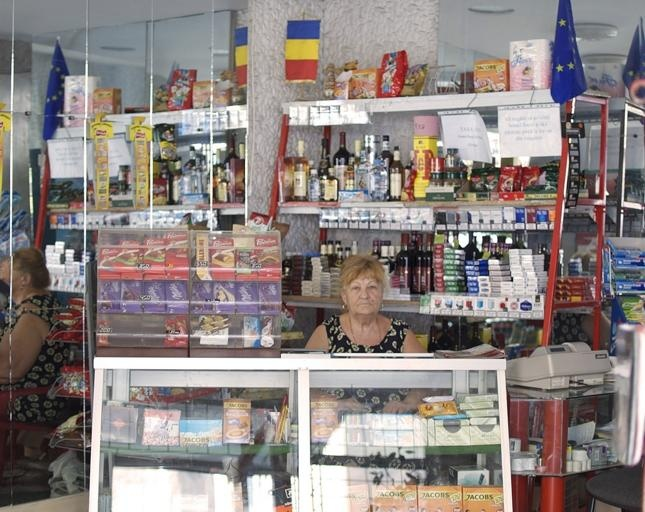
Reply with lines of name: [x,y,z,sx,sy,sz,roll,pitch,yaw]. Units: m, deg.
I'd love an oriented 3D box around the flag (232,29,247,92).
flag: [-0.584,-1.420,7.099,0.107,0.478,0.008,-18,27,-40]

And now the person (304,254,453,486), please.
person: [0.269,0.574,5.590,0.712,1.082,1.128,-1,5,0]

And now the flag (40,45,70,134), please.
flag: [-1.720,-1.067,6.271,0.151,0.734,0.115,-5,45,-27]

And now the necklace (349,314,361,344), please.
necklace: [0.200,0.453,5.980,0.071,0.144,0.033,-1,1,8]
